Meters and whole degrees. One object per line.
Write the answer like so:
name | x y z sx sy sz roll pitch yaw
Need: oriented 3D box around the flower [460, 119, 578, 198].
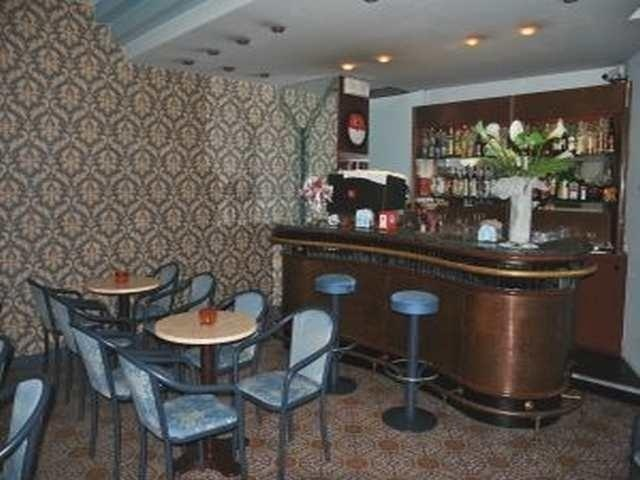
flower | 1.480 -0.593 3.968 0.541 0.373 0.539 1 7 23

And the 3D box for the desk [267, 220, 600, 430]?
desk | 0.931 0.650 5.234 3.349 1.318 1.124 8 8 41

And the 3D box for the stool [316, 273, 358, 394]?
stool | 0.129 0.904 5.004 0.447 1.021 0.427 1 -1 -16

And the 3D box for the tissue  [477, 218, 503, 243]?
tissue  | 1.366 -0.066 4.293 0.164 0.165 0.230 4 5 28
